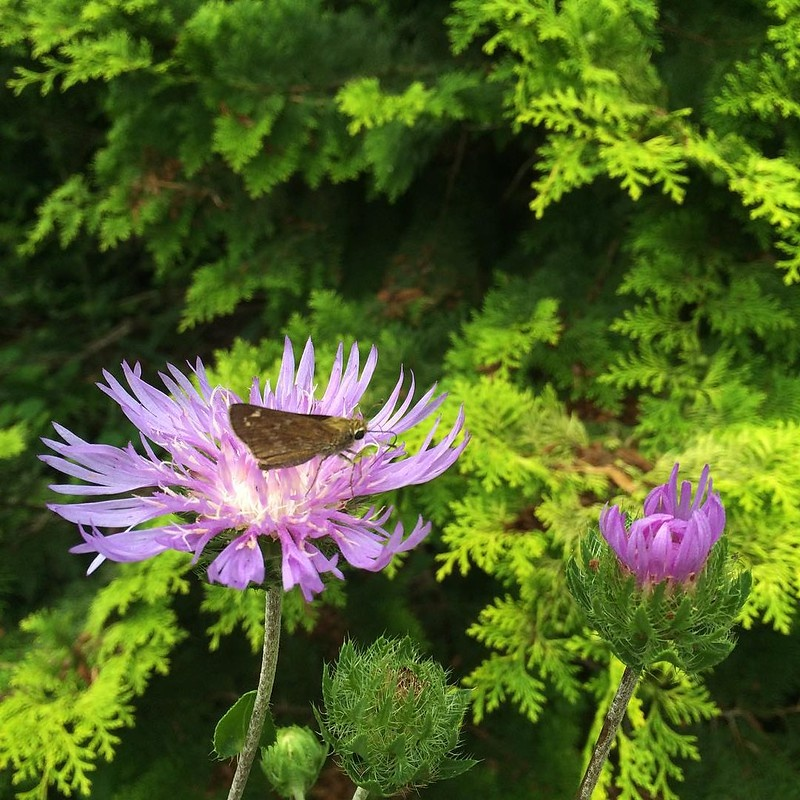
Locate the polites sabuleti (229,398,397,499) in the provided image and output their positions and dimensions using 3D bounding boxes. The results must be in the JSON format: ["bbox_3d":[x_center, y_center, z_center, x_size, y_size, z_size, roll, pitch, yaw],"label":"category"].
[{"bbox_3d":[-0.276,0.121,2.552,0.243,0.111,0.219,6,-10,2],"label":"polites sabuleti"}]

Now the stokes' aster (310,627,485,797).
[{"bbox_3d":[-0.004,0.842,2.767,0.341,0.541,0.506,-3,3,-4],"label":"stokes' aster"}]

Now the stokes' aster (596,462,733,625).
[{"bbox_3d":[0.723,0.373,2.593,0.340,0.359,0.342,-10,11,24],"label":"stokes' aster"}]

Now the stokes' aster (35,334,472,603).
[{"bbox_3d":[-0.363,0.232,2.697,0.944,0.334,0.918,-17,43,-31],"label":"stokes' aster"}]
